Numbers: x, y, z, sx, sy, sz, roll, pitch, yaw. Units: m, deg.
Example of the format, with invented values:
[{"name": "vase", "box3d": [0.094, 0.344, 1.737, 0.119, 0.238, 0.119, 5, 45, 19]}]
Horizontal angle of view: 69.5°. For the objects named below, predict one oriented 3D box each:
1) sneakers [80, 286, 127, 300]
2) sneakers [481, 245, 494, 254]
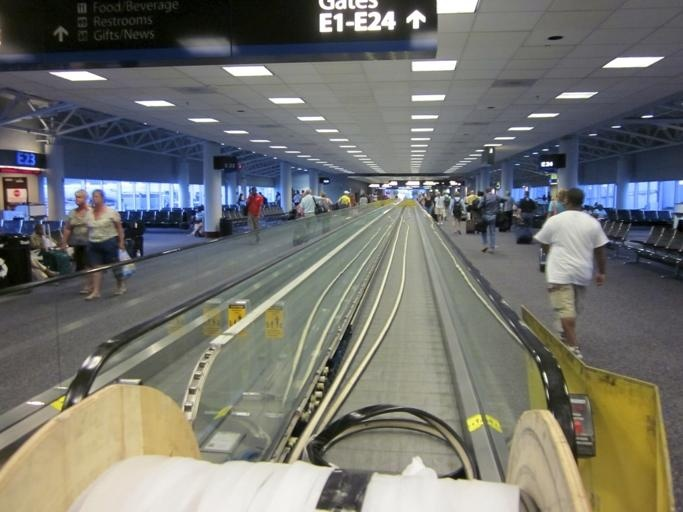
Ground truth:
[{"name": "sneakers", "box3d": [-1.970, 0.305, 4.033, 0.120, 0.090, 0.297, 16, 6, 23]}, {"name": "sneakers", "box3d": [3.990, -0.175, 13.328, 0.124, 0.165, 0.381, 1, 8, -4]}]
